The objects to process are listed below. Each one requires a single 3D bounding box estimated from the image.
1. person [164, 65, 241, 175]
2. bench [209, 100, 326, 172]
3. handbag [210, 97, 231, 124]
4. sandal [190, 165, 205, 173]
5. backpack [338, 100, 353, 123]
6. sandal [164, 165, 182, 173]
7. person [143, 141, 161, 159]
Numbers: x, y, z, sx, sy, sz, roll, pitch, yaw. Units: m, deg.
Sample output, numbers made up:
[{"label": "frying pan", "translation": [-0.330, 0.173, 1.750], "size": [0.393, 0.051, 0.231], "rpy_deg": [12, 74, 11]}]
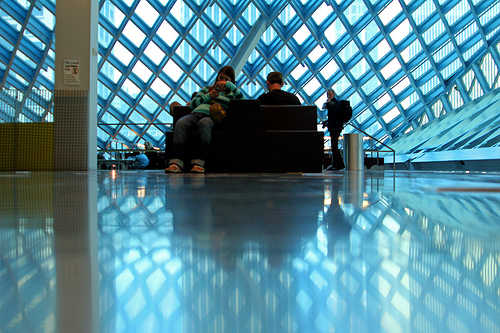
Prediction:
[{"label": "person", "translation": [-0.453, -0.527, 4.039], "size": [0.609, 1.128, 1.004], "rpy_deg": [0, 3, 6]}, {"label": "bench", "translation": [0.213, -0.325, 4.320], "size": [0.791, 0.628, 0.925], "rpy_deg": [0, 0, -1]}, {"label": "handbag", "translation": [-0.323, -0.548, 4.058], "size": [0.158, 0.321, 0.303], "rpy_deg": [-17, 24, 5]}, {"label": "sandal", "translation": [-0.479, 0.027, 3.600], "size": [0.128, 0.068, 0.050], "rpy_deg": [3, -5, -4]}, {"label": "backpack", "translation": [1.770, -1.049, 7.506], "size": [0.250, 0.404, 0.122], "rpy_deg": [5, 4, -4]}, {"label": "sandal", "translation": [-0.716, 0.024, 3.651], "size": [0.059, 0.049, 0.121], "rpy_deg": [1, -7, 17]}, {"label": "person", "translation": [-2.610, -0.420, 10.447], "size": [0.480, 0.284, 0.792], "rpy_deg": [2, 8, -7]}]
